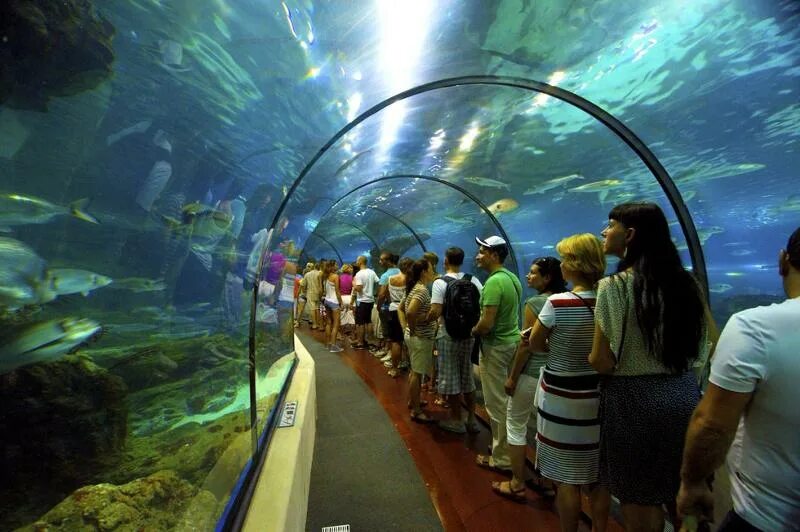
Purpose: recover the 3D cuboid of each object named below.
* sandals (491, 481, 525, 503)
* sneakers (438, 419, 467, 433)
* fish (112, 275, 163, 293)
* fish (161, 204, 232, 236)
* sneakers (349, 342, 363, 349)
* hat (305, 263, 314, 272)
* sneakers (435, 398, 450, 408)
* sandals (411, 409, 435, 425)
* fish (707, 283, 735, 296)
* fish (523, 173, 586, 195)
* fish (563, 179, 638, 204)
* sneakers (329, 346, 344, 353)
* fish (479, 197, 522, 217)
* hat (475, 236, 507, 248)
[{"bbox_3d":[1.067,2.182,4.193,0.303,0.116,0.134,3,-5,37],"label":"sandals"},{"bbox_3d":[0.673,2.042,5.531,0.374,0.135,0.148,1,1,31],"label":"sneakers"},{"bbox_3d":[-1.164,0.078,1.877,0.068,0.049,0.223,-12,-7,12],"label":"fish"},{"bbox_3d":[-1.078,-0.243,2.229,0.216,0.103,0.313,17,0,-14],"label":"fish"},{"bbox_3d":[-1.110,1.958,10.545,0.368,0.139,0.131,-2,-2,23],"label":"sneakers"},{"bbox_3d":[-2.703,0.006,12.752,0.239,0.319,0.749,3,-5,-10],"label":"hat"},{"bbox_3d":[0.621,2.035,6.390,0.097,0.105,0.261,3,-18,-11],"label":"sneakers"},{"bbox_3d":[0.298,2.041,5.823,0.293,0.103,0.150,-1,-1,7],"label":"sandals"},{"bbox_3d":[4.305,0.308,5.739,0.181,0.132,0.062,2,-28,46],"label":"fish"},{"bbox_3d":[2.882,-1.547,8.089,0.975,0.188,0.225,-13,-22,42],"label":"fish"},{"bbox_3d":[3.438,-1.310,7.290,0.436,0.196,0.948,-36,22,-32],"label":"fish"},{"bbox_3d":[-1.492,1.935,10.002,0.316,0.118,0.119,1,3,-22],"label":"sneakers"},{"bbox_3d":[2.354,-1.374,9.879,0.245,0.205,0.701,16,-13,-26],"label":"fish"},{"bbox_3d":[1.043,-0.272,4.891,0.350,0.113,0.211,3,4,3],"label":"hat"}]
